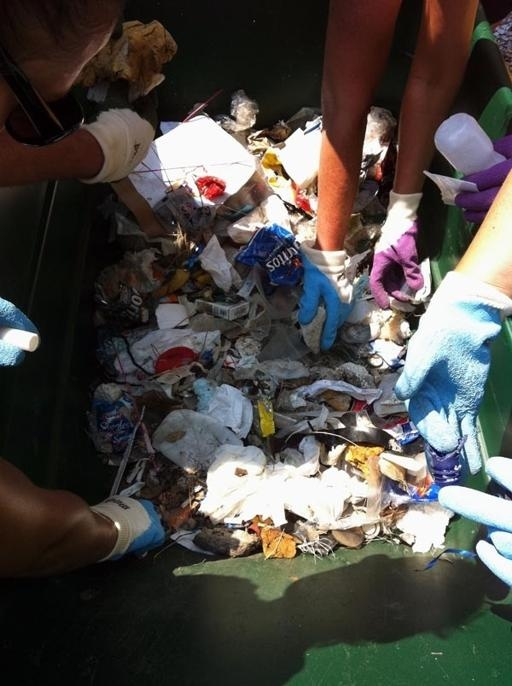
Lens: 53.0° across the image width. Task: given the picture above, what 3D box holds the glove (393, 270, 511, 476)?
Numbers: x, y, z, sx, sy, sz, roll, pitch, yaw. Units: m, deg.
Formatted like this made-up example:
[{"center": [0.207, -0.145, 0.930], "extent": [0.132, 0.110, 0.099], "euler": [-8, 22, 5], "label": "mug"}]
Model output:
[{"center": [0.438, 0.061, 1.188], "extent": [0.288, 0.421, 0.130], "euler": [6, 32, 0], "label": "glove"}]
